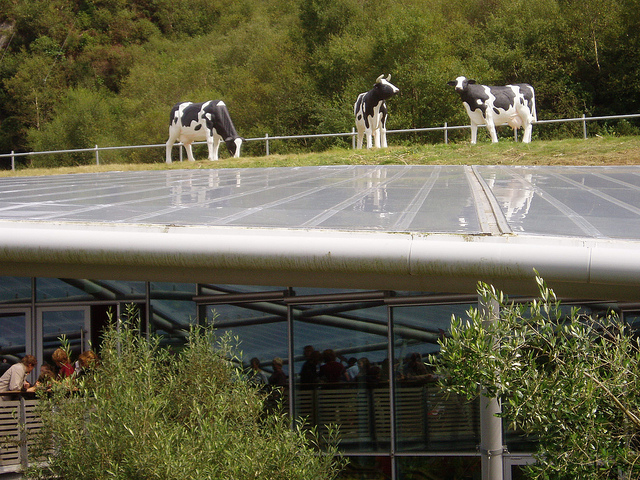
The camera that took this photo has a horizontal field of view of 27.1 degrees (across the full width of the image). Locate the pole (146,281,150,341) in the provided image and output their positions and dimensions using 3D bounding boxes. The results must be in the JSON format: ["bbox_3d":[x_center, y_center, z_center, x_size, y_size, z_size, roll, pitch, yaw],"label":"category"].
[{"bbox_3d":[-6.157,2.524,49.148,0.167,1.804,0.423,-2,-2,-9],"label":"pole"}]

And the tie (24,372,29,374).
[{"bbox_3d":[-10.214,4.852,47.554,0.087,0.104,0.091,-1,-7,45],"label":"tie"}]

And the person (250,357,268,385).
[{"bbox_3d":[-2.045,4.719,47.112,0.590,0.936,0.456,-2,-2,-4],"label":"person"}]

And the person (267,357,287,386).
[{"bbox_3d":[-1.420,4.758,47.213,0.677,1.010,0.186,-3,-2,24],"label":"person"}]

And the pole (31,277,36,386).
[{"bbox_3d":[-10.395,3.582,49.523,0.116,4.130,0.155,9,10,29],"label":"pole"}]

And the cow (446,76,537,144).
[{"bbox_3d":[8.543,-5.695,60.471,5.155,4.218,1.958,2,-6,-8],"label":"cow"}]

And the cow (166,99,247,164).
[{"bbox_3d":[-5.220,-5.014,61.397,4.362,3.068,1.260,4,2,33],"label":"cow"}]

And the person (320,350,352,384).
[{"bbox_3d":[0.538,4.682,47.427,0.980,1.627,0.842,-6,8,-9],"label":"person"}]
